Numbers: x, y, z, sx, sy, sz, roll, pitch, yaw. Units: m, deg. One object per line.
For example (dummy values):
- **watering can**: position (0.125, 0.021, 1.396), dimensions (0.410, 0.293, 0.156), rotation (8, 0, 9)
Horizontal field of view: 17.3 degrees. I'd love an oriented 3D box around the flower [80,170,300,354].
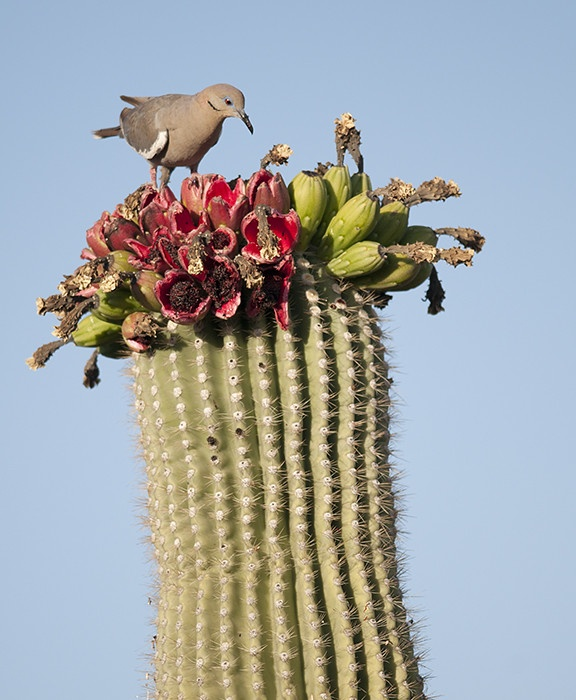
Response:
- **flower**: position (-0.269, -0.346, 6.962), dimensions (0.772, 0.632, 0.369), rotation (-8, -10, 28)
